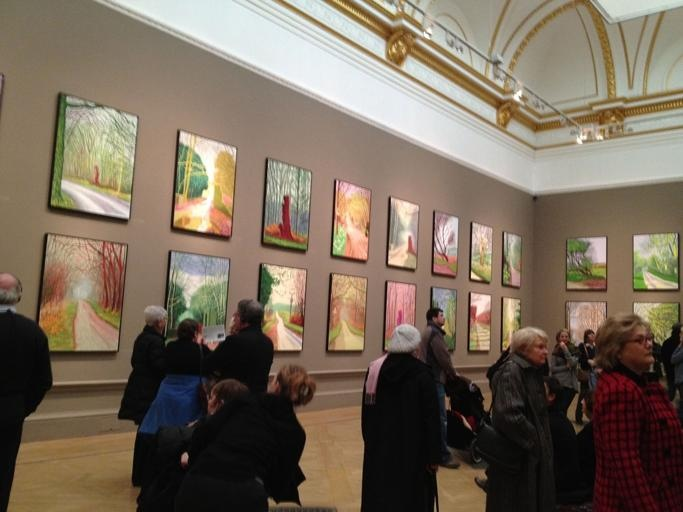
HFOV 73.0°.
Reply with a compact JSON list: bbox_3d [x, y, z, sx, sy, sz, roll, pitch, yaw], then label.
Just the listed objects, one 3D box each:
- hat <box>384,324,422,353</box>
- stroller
[{"bbox_3d":[0.659,0.835,4.750,0.225,0.237,0.343,4,11,18],"label":"hat"},{"bbox_3d":[2.156,2.718,8.559,0.830,1.274,1.239,-9,5,14],"label":"stroller"}]
